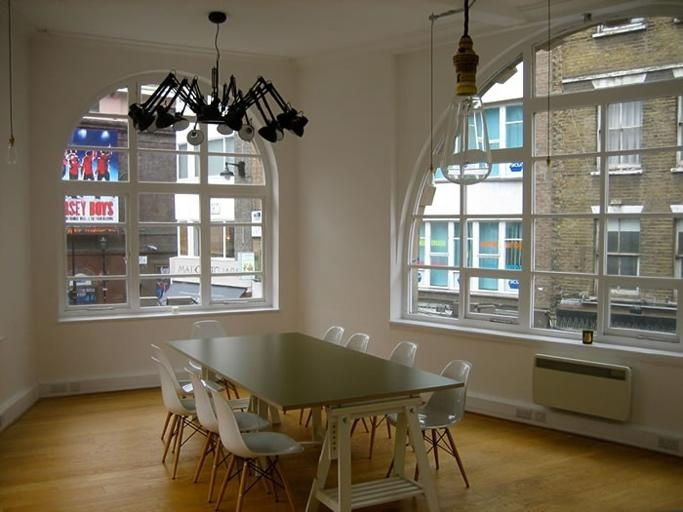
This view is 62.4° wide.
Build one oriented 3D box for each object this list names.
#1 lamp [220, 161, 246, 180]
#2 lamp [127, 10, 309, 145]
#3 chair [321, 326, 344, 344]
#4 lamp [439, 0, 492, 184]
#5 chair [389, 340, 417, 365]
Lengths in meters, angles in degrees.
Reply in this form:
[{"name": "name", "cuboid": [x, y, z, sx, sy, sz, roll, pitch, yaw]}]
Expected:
[{"name": "lamp", "cuboid": [-1.479, -1.206, 7.867, 0.328, 0.300, 0.183, 3, -3, -43]}, {"name": "lamp", "cuboid": [-1.134, -1.624, 5.222, 1.467, 1.010, 1.496, 3, 4, 37]}, {"name": "chair", "cuboid": [-0.084, 0.859, 6.117, 0.179, 0.310, 0.223, 2, -5, 26]}, {"name": "lamp", "cuboid": [0.603, -0.730, 2.741, 0.232, 0.756, 0.136, 0, 3, 10]}, {"name": "chair", "cuboid": [0.614, 0.920, 5.421, 0.204, 0.333, 0.246, 6, -2, 21]}]
